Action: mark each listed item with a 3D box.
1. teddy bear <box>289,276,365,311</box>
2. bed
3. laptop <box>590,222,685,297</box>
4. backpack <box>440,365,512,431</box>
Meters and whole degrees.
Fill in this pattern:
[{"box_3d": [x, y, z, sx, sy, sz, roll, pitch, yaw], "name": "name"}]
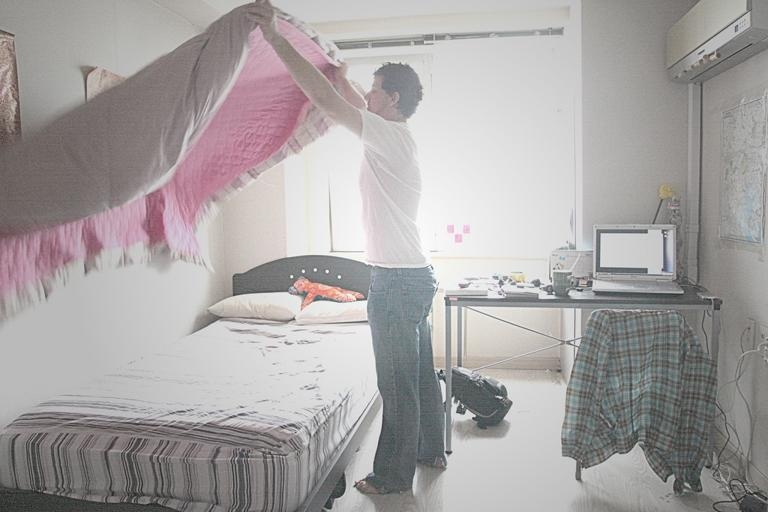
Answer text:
[{"box_3d": [-0.394, 0.222, 3.678, 0.498, 0.197, 0.179, 10, 1, 15], "name": "teddy bear"}, {"box_3d": [-0.832, 0.443, 2.904, 0.865, 0.831, 1.611, 4, 14, 13], "name": "bed"}, {"box_3d": [1.381, 0.014, 3.289, 0.449, 0.318, 0.352, 0, -13, 19], "name": "laptop"}, {"box_3d": [0.522, 0.783, 3.259, 0.411, 0.264, 0.123, 28, 2, 9], "name": "backpack"}]
